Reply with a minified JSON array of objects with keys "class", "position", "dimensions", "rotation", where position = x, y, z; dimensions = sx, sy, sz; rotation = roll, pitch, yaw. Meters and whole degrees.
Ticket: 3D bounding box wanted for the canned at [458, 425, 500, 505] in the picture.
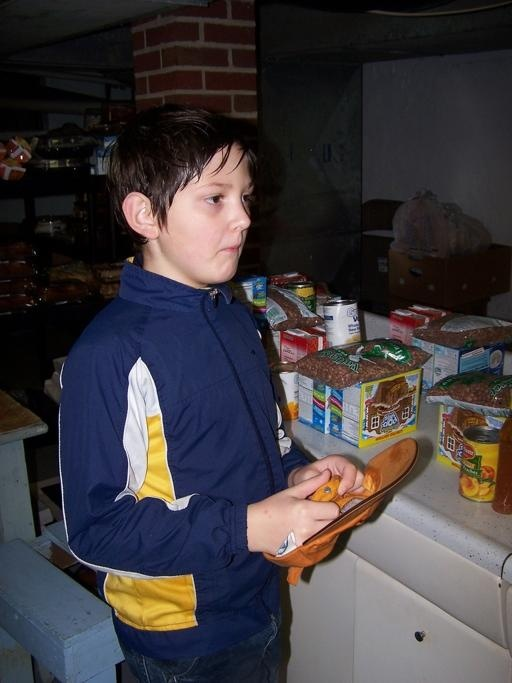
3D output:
[{"class":"canned","position":[0.401,0.237,0.984],"dimensions":[0.076,0.126,0.044],"rotation":[4,12,35]}]
